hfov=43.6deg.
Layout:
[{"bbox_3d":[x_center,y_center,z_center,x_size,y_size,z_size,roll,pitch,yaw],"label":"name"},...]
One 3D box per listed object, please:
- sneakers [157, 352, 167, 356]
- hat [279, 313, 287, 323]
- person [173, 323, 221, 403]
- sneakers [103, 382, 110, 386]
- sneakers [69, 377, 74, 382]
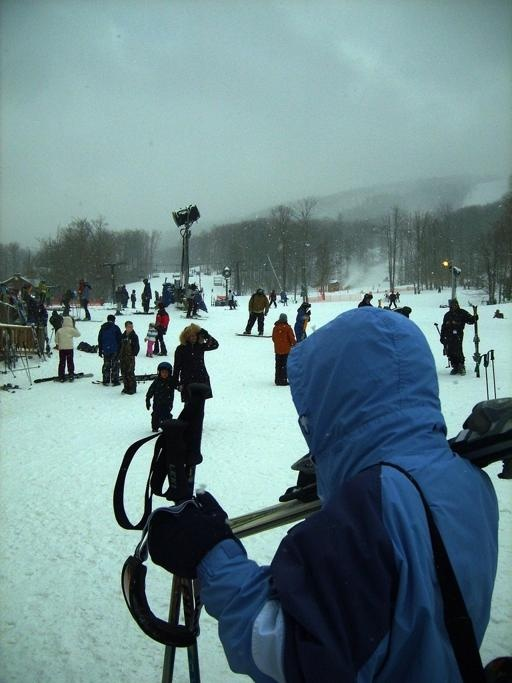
[{"bbox_3d":[-2.275,0.309,15.549,0.070,0.108,0.227,4,1,37],"label":"sneakers"},{"bbox_3d":[0.461,-0.415,10.956,0.132,0.173,0.166,2,-12,5],"label":"hat"},{"bbox_3d":[-0.733,0.301,7.486,0.451,1.230,0.387,-3,28,-11],"label":"person"},{"bbox_3d":[-2.643,0.748,11.282,0.117,0.074,0.142,-4,4,-17],"label":"sneakers"},{"bbox_3d":[-3.423,0.706,11.821,0.099,0.070,0.209,-4,4,-17],"label":"sneakers"}]
